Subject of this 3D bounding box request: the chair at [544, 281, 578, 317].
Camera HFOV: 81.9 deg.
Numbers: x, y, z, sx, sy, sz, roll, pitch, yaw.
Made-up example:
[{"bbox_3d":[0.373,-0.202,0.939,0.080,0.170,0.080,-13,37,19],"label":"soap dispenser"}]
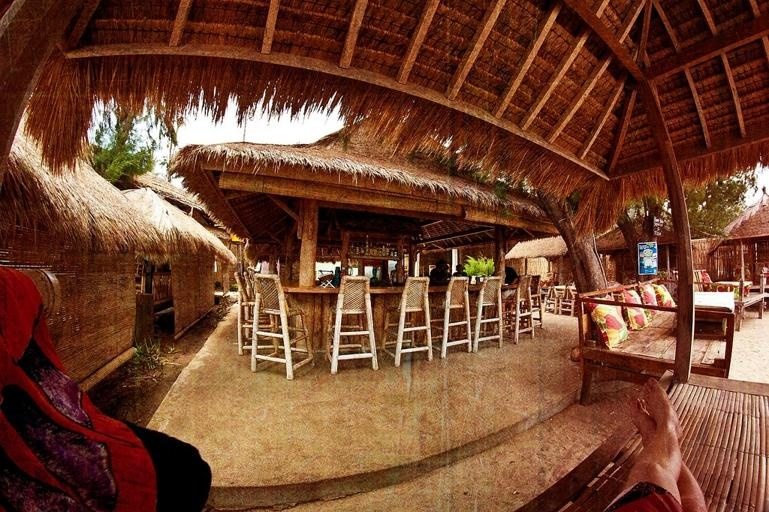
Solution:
[{"bbox_3d":[4.825,1.213,12.153,0.400,0.843,1.120,0,-2,-4],"label":"chair"}]
